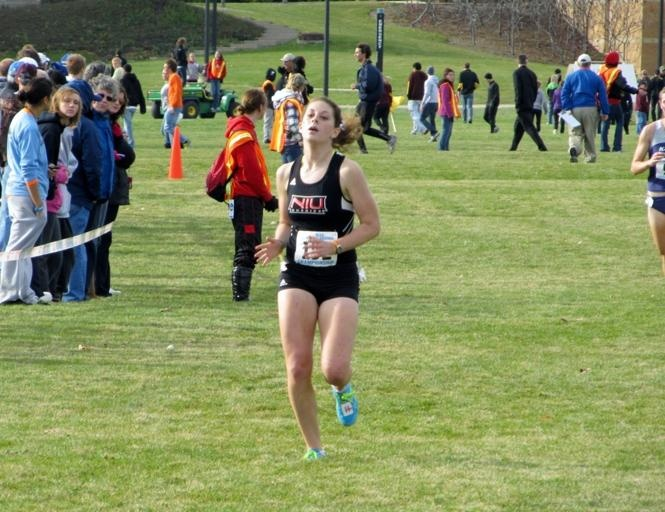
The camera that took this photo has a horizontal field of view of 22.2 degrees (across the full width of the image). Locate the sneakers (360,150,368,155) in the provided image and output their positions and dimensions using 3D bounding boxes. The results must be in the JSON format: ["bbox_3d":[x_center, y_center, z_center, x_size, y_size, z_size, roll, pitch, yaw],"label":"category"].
[{"bbox_3d":[0.638,-2.199,35.237,0.106,0.055,0.144,2,-10,3],"label":"sneakers"}]

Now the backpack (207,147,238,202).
[{"bbox_3d":[-1.513,-1.116,22.727,0.329,0.742,0.450,-1,9,-20],"label":"backpack"}]

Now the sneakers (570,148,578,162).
[{"bbox_3d":[4.711,-2.040,33.372,0.069,0.264,0.150,-5,10,15],"label":"sneakers"}]

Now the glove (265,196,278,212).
[{"bbox_3d":[-0.812,-0.711,22.638,0.132,0.107,0.209,-16,33,3],"label":"glove"}]

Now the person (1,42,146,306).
[{"bbox_3d":[-3.748,-0.884,22.495,1.269,3.011,0.915,0,8,-10],"label":"person"}]

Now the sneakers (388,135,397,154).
[{"bbox_3d":[1.225,-2.347,35.115,0.213,0.406,0.143,3,27,15],"label":"sneakers"}]

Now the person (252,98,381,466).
[{"bbox_3d":[-0.191,0.213,18.828,1.103,3.950,1.067,6,9,28],"label":"person"}]

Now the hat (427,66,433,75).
[{"bbox_3d":[2.320,-4.498,40.492,0.194,0.215,0.220,0,5,-3],"label":"hat"}]

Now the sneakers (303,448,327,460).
[{"bbox_3d":[-0.203,2.168,18.722,0.247,0.138,0.151,3,8,11],"label":"sneakers"}]

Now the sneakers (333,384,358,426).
[{"bbox_3d":[0.153,1.652,18.856,0.205,0.529,0.236,-13,3,9],"label":"sneakers"}]

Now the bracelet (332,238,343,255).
[{"bbox_3d":[0.049,-0.127,18.727,0.079,0.132,0.140,5,11,21],"label":"bracelet"}]
